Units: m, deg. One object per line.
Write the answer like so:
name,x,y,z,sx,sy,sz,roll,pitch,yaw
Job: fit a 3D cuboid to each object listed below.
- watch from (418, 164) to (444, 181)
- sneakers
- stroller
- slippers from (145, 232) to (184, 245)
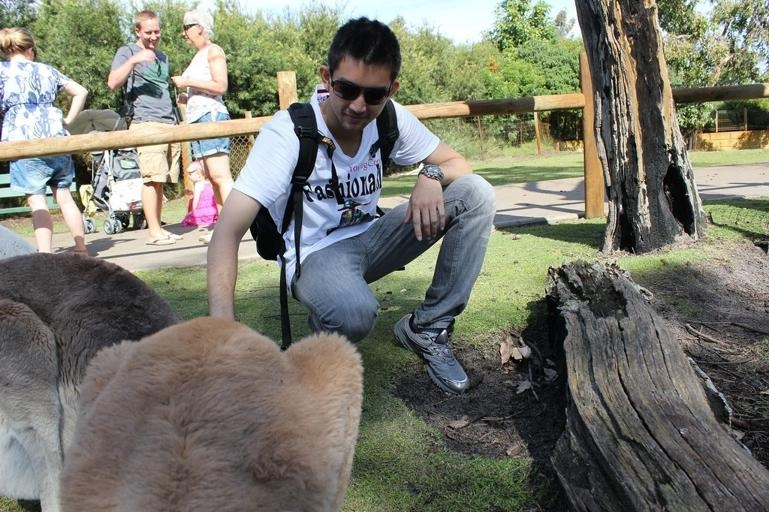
watch,0.248,-0.460,3.287,0.090,0.058,0.101,-9,23,-37
sneakers,0.258,0.478,3.344,0.564,0.256,0.199,48,28,25
stroller,-3.636,-1.054,7.998,0.850,1.593,0.728,-15,-2,-31
slippers,-2.361,-0.180,6.378,0.240,0.073,0.187,-1,10,7
